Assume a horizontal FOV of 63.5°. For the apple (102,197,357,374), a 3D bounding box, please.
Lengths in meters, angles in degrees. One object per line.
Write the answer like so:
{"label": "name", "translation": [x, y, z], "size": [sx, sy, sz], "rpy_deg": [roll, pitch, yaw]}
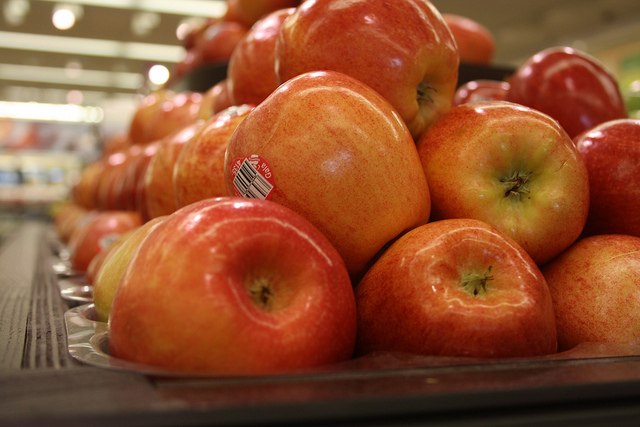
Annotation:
{"label": "apple", "translation": [-0.128, 0.095, 0.734], "size": [0.346, 0.233, 0.121], "rpy_deg": [1, 1, 9]}

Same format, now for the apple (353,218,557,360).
{"label": "apple", "translation": [0.213, 0.121, 0.819], "size": [0.212, 0.238, 0.235], "rpy_deg": [-17, 29, 21]}

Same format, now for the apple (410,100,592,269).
{"label": "apple", "translation": [0.343, -0.090, 0.990], "size": [0.293, 0.297, 0.313], "rpy_deg": [-5, 14, -34]}

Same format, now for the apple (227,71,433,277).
{"label": "apple", "translation": [0.016, -0.155, 0.958], "size": [0.330, 0.379, 0.333], "rpy_deg": [-13, 24, 16]}

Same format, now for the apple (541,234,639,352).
{"label": "apple", "translation": [0.442, 0.133, 0.842], "size": [0.120, 0.128, 0.148], "rpy_deg": [-26, 3, -24]}
